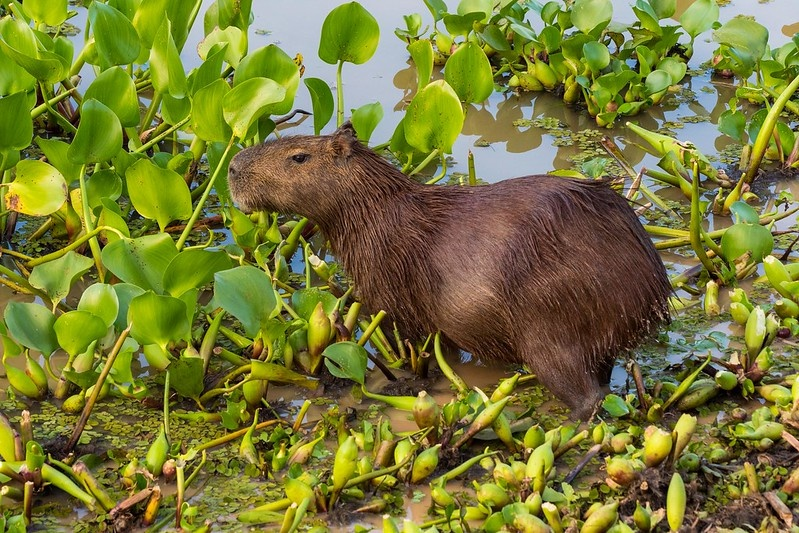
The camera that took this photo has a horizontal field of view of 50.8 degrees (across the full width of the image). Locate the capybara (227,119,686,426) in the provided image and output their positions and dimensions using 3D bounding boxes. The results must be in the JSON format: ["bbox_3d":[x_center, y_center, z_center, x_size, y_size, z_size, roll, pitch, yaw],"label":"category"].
[{"bbox_3d":[0.268,-0.009,5.123,2.625,1.398,0.973,14,26,16],"label":"capybara"}]
